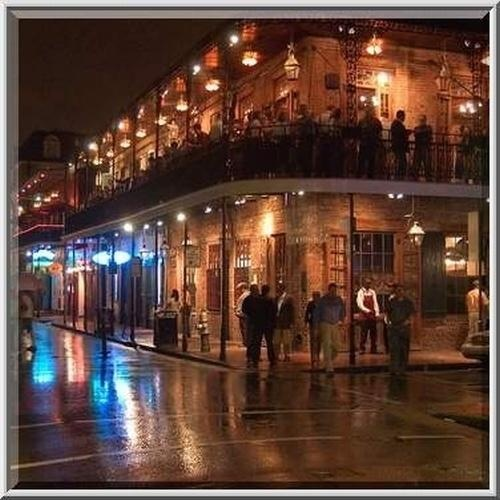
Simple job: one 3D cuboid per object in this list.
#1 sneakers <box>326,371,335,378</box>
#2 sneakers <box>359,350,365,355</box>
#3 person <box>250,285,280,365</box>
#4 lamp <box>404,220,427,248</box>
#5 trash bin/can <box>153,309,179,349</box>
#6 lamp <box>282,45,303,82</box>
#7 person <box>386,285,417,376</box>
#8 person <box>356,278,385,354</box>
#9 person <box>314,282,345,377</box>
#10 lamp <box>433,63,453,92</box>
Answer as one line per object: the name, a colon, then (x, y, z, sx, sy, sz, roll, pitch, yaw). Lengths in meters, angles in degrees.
sneakers: (1.697, 2.630, 15.004, 0.130, 0.107, 0.151, 0, -1, 2)
sneakers: (3.100, 2.829, 19.529, 0.074, 0.117, 0.111, 10, -6, 6)
person: (0.355, 1.847, 17.486, 0.586, 1.949, 0.966, 0, -3, 0)
lamp: (4.746, -0.552, 20.085, 0.651, 1.071, 0.578, -1, -7, 3)
trash bin/can: (-2.719, 2.503, 22.376, 0.859, 1.621, 0.960, -3, -6, 28)
lamp: (1.087, -4.912, 18.388, 0.370, 1.105, 0.390, -2, -1, 12)
person: (3.237, 1.700, 15.255, 0.584, 1.933, 0.428, -1, -3, 13)
person: (3.245, 1.812, 19.408, 0.606, 2.044, 0.775, -2, -3, 22)
person: (1.749, 1.674, 15.400, 0.637, 1.878, 0.459, 2, -4, -43)
lamp: (6.057, -5.405, 22.194, 0.461, 1.188, 0.143, 5, -17, -1)
